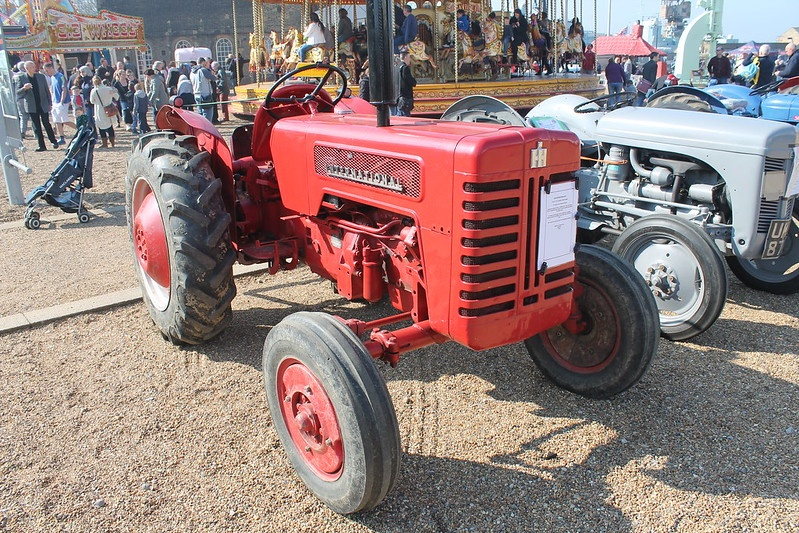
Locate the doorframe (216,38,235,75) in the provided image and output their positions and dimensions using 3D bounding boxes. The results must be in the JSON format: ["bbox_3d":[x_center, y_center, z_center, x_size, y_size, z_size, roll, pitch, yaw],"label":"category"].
[{"bbox_3d":[-12.892,-15.648,42.942,1.115,2.740,0.157,-4,-14,-10],"label":"doorframe"}]

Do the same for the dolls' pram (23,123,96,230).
[{"bbox_3d":[-4.654,-1.314,8.015,1.018,1.397,0.546,-12,21,-25],"label":"dolls' pram"}]

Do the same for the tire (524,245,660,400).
[{"bbox_3d":[1.312,0.412,4.035,0.386,1.057,0.900,-21,6,-39],"label":"tire"}]

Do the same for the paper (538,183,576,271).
[{"bbox_3d":[0.961,-0.267,3.594,0.405,0.542,0.058,-17,23,-39],"label":"paper"}]

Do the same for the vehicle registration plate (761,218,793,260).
[{"bbox_3d":[3.401,-0.270,5.269,0.284,0.294,0.040,-34,35,-18],"label":"vehicle registration plate"}]

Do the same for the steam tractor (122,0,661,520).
[{"bbox_3d":[-0.275,-0.423,5.073,2.882,3.360,4.075,-14,23,-38],"label":"steam tractor"}]

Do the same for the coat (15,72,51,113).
[{"bbox_3d":[-7.637,-3.623,12.171,0.563,0.838,0.818,-15,23,-31],"label":"coat"}]

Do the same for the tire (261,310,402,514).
[{"bbox_3d":[-0.465,0.905,3.724,0.401,1.390,1.262,-21,38,-39],"label":"tire"}]

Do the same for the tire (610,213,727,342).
[{"bbox_3d":[2.191,0.114,4.734,0.343,1.122,0.919,-9,11,-39],"label":"tire"}]

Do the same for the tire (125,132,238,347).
[{"bbox_3d":[-1.727,-0.226,4.667,0.421,1.388,1.327,-4,28,-34],"label":"tire"}]
